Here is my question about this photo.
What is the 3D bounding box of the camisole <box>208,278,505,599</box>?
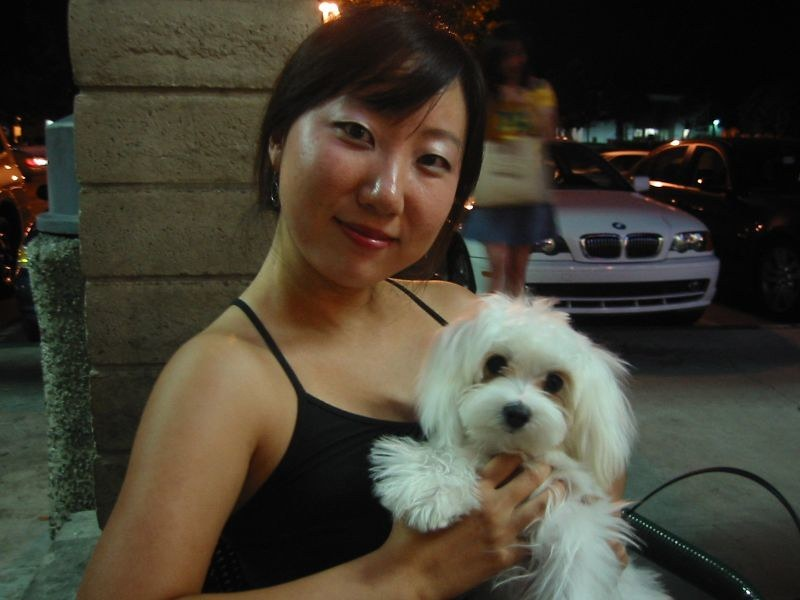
[{"bbox_3d":[-0.027,0.400,2.409,0.940,1.206,0.678,8,-8,-40],"label":"camisole"}]

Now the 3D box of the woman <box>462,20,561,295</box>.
[{"bbox_3d":[0.673,-0.683,4.204,0.572,1.807,0.486,-3,11,-7],"label":"woman"}]

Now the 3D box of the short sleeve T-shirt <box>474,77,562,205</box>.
[{"bbox_3d":[0.675,-0.861,4.023,0.536,0.847,0.292,1,2,-9],"label":"short sleeve T-shirt"}]

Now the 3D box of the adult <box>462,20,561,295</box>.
[{"bbox_3d":[0.671,-0.679,4.182,0.556,1.771,0.521,0,12,3],"label":"adult"}]

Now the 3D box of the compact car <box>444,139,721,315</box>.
[{"bbox_3d":[1.745,-0.507,5.680,1.145,0.938,2.644,1,1,-5],"label":"compact car"}]
